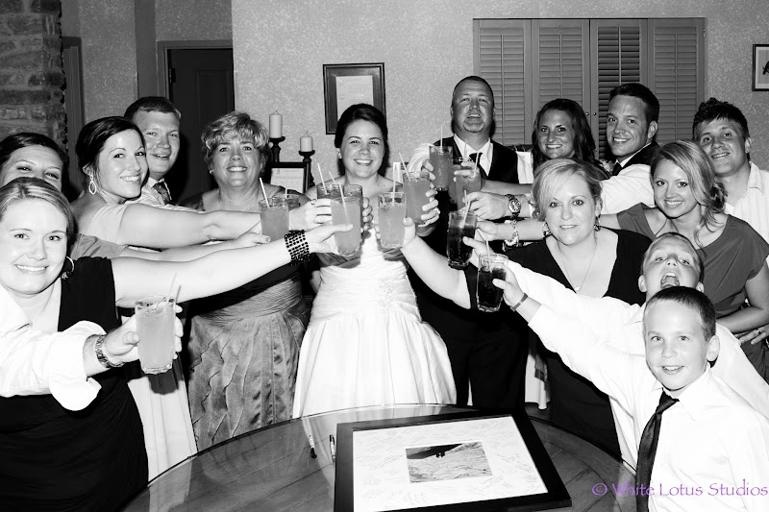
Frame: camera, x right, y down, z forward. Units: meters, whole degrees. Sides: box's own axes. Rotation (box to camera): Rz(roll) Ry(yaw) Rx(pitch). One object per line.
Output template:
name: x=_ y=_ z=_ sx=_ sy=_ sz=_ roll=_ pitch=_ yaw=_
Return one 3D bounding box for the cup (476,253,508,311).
cup: x=0.464 y=0.118 z=2.587 sx=0.121 sy=0.262 sz=0.116 roll=-2 pitch=14 yaw=1

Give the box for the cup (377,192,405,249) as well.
cup: x=0.028 y=-0.170 z=2.738 sx=0.095 sy=0.267 sz=0.113 roll=-14 pitch=18 yaw=-38

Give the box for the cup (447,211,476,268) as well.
cup: x=0.359 y=-0.083 z=2.779 sx=0.128 sy=0.312 sz=0.149 roll=-2 pitch=14 yaw=2
